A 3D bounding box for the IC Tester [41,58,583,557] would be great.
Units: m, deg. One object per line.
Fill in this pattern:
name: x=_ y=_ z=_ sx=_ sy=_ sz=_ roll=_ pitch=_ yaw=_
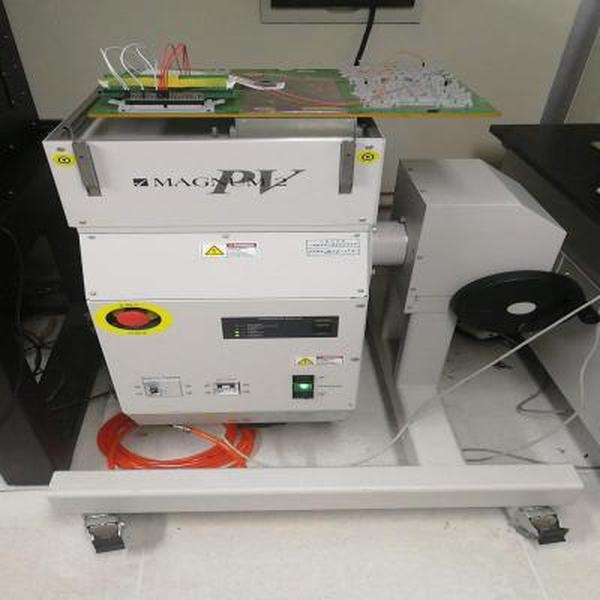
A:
IC Tester: x=-0.143 y=-0.077 z=1.757 sx=1.676 sy=0.973 sz=1.342 roll=-1 pitch=39 yaw=-2
